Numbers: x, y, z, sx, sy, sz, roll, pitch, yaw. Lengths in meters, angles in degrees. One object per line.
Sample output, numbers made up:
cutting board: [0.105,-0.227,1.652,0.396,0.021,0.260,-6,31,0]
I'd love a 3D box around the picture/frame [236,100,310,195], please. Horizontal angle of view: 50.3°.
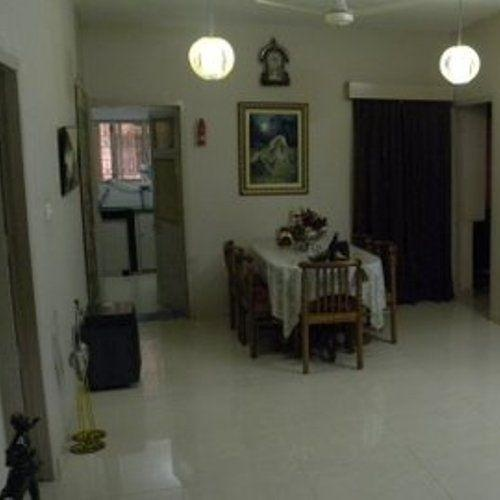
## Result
picture/frame: [0.215,-1.144,5.763,0.759,1.160,0.048,-1,7,-9]

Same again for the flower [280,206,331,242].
flower: [0.515,-0.288,4.895,0.366,0.236,0.317,-21,11,-21]
